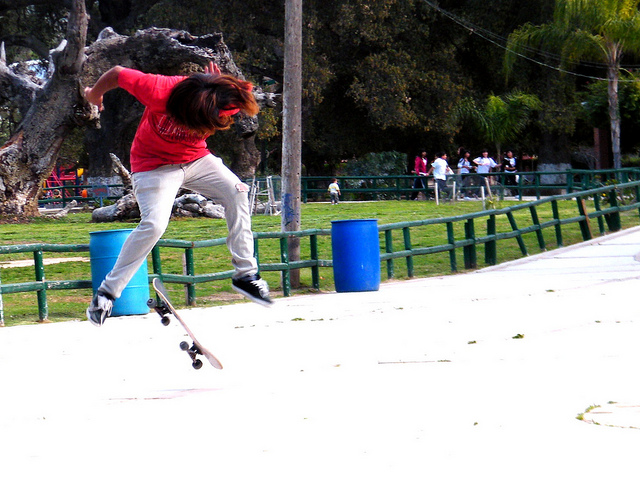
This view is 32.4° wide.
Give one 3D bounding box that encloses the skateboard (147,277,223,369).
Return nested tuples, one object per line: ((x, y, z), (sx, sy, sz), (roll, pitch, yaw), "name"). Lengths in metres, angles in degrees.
((-1.688, 1.029, 13.807), (0.183, 1.099, 0.268), (-30, -28, -15), "skateboard")

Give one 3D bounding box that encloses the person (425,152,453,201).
((3.513, -1.855, 31.673), (0.487, 1.278, 1.049), (-3, -1, 5), "person")

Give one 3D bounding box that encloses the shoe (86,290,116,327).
((-2.514, 0.720, 12.748), (0.222, 0.188, 0.509), (-23, 29, 12), "shoe")

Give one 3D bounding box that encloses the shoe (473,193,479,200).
((4.428, -1.288, 31.420), (0.032, 0.128, 0.076), (-8, -9, -42), "shoe")

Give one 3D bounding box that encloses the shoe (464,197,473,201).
((4.199, -1.220, 31.341), (0.220, 0.102, 0.116), (-2, -1, -32), "shoe")
